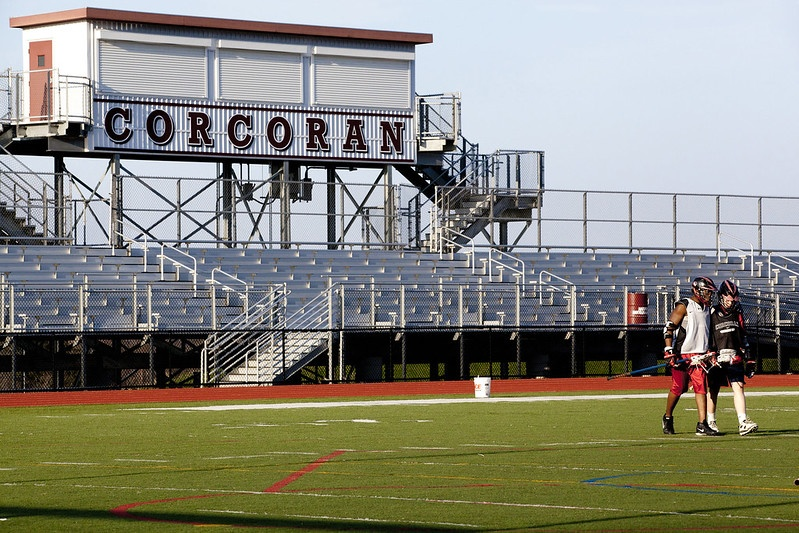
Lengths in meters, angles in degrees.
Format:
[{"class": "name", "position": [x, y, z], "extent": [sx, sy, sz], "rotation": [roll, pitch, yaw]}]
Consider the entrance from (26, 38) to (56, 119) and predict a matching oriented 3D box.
[{"class": "entrance", "position": [-11.742, -6.105, 64.500], "extent": [0.814, 2.629, 0.761], "rotation": [1, -8, -10]}]

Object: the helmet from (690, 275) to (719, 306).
[{"class": "helmet", "position": [6.361, 0.447, 41.387], "extent": [0.465, 0.570, 0.526], "rotation": [0, -8, -3]}]

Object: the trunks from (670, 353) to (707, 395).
[{"class": "trunks", "position": [6.047, 2.160, 41.426], "extent": [0.978, 0.926, 0.398], "rotation": [1, -8, -6]}]
